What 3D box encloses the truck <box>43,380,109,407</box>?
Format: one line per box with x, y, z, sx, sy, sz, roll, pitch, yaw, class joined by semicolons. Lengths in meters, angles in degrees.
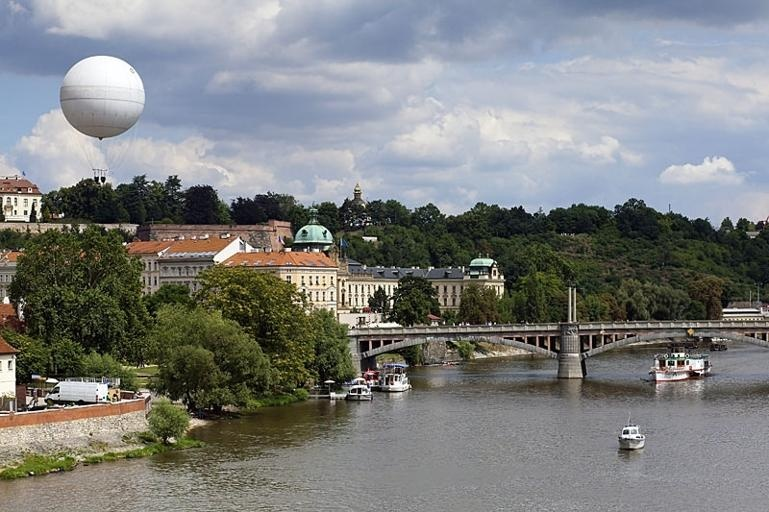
-21.731;9.803;105.734;4.217;1.664;1.194;3;6;13;truck

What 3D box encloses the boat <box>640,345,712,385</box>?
29.158;10.964;148.315;3.178;2.388;8.157;-4;-6;34;boat

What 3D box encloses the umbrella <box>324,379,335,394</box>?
-4.756;11.455;130.631;1.096;1.167;1.077;0;5;-35;umbrella
